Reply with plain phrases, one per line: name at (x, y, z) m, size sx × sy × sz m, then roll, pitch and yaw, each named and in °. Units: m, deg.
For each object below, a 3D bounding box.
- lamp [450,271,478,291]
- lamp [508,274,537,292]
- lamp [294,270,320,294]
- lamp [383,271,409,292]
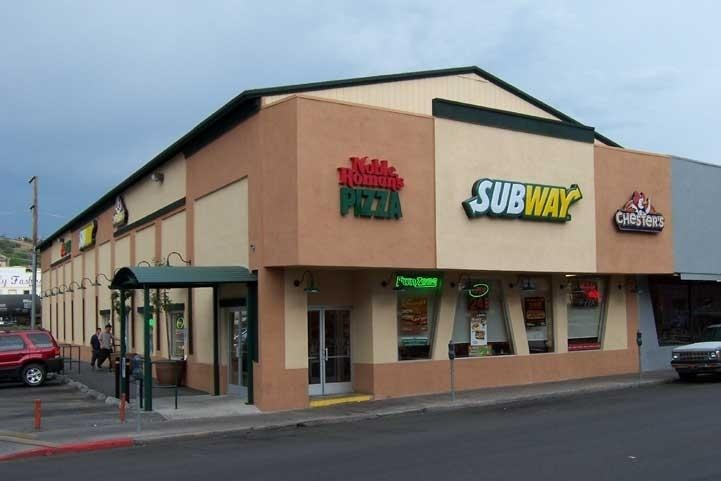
lamp at (4.041, 1.573, 28.463) m, size 1.178 × 0.708 × 1.141 m, roll -1°, pitch -5°, yaw -24°
lamp at (6.729, 1.733, 29.500) m, size 1.488 × 0.682 × 0.323 m, roll 4°, pitch -11°, yaw -28°
lamp at (-1.955, 1.483, 25.702) m, size 0.541 × 0.722 × 0.942 m, roll 7°, pitch -11°, yaw -34°
lamp at (1.357, 1.529, 27.095) m, size 0.924 × 0.517 × 0.543 m, roll 0°, pitch -2°, yaw -21°
